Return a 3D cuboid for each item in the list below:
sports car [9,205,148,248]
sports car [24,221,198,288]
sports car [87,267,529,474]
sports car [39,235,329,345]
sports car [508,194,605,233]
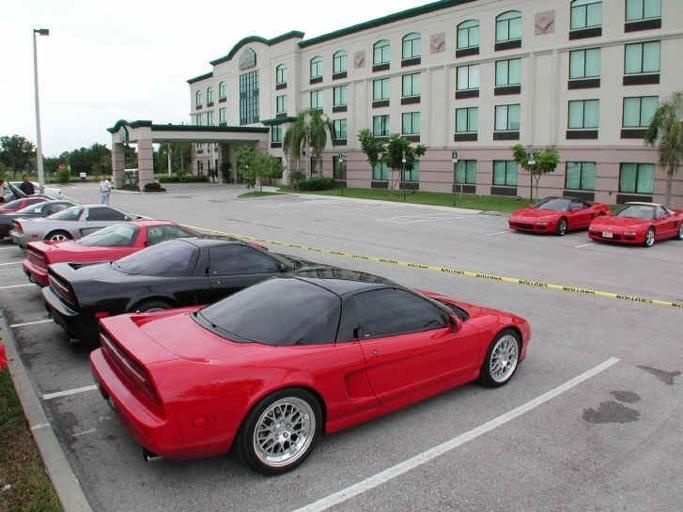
[{"bbox_3d":[-8.249,-0.665,14.112,3.798,0.949,2.006,-9,15,-35],"label":"sports car"},{"bbox_3d":[-4.902,0.157,9.847,3.516,0.856,1.875,-9,12,-29],"label":"sports car"},{"bbox_3d":[-0.056,0.983,5.043,4.235,1.018,2.079,-10,13,-31],"label":"sports car"},{"bbox_3d":[-2.697,0.378,7.604,4.046,0.963,1.874,-8,13,-30],"label":"sports car"},{"bbox_3d":[10.414,-1.922,20.710,4.091,1.082,2.145,-6,9,-31],"label":"sports car"}]
